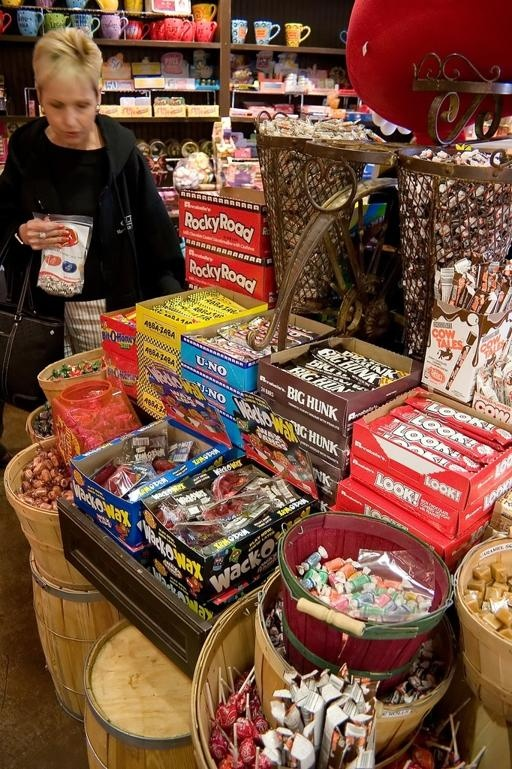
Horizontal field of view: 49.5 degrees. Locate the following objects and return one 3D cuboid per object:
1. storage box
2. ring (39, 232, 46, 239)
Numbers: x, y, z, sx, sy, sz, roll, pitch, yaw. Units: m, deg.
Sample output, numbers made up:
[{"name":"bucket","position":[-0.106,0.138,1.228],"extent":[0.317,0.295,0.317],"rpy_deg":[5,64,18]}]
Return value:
[{"name":"storage box","position":[-0.058,-0.363,1.485],"extent":[0.109,0.270,0.316],"rpy_deg":[-28,39,-37]},{"name":"ring","position":[-0.749,-0.523,1.949],"extent":[0.018,0.018,0.004],"rpy_deg":[1,21,-12]}]
